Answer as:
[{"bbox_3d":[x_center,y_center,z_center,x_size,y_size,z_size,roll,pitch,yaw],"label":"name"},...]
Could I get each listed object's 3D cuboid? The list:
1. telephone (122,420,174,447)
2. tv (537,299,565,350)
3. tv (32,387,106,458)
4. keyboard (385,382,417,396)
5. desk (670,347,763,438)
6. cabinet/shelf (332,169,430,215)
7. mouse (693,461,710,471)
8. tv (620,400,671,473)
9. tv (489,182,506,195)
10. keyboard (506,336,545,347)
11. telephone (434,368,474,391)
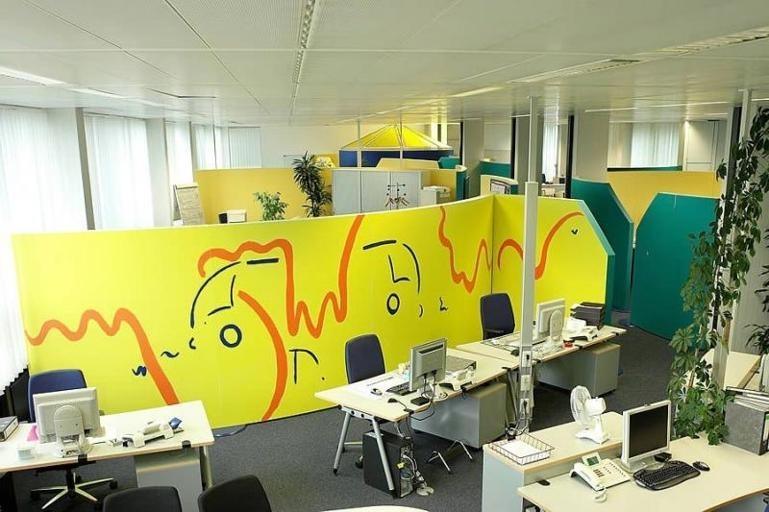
[{"bbox_3d":[-2.431,1.785,5.587,0.219,0.149,0.413,9,13,39],"label":"telephone"},{"bbox_3d":[2.258,0.905,7.386,0.549,0.649,0.191,-11,13,-37],"label":"tv"},{"bbox_3d":[-3.147,1.674,5.394,0.609,0.609,0.311,-2,22,-13],"label":"tv"},{"bbox_3d":[0.194,1.535,6.286,0.150,0.050,0.210,10,15,39],"label":"keyboard"},{"bbox_3d":[3.260,1.456,5.611,0.535,0.825,0.625,-7,11,-18],"label":"desk"},{"bbox_3d":[-0.194,-1.488,12.083,2.562,1.022,0.336,5,14,41],"label":"cabinet/shelf"},{"bbox_3d":[2.992,1.974,5.104,0.067,0.036,0.111,-4,3,-28],"label":"mouse"},{"bbox_3d":[2.479,1.724,5.113,0.560,0.555,0.296,-10,9,-32],"label":"tv"},{"bbox_3d":[2.445,-1.476,11.603,0.073,0.368,0.522,-9,14,-24],"label":"tv"},{"bbox_3d":[1.842,1.100,7.010,0.308,0.063,0.221,-1,3,-23],"label":"keyboard"},{"bbox_3d":[0.863,1.476,6.454,0.273,0.114,0.265,-6,6,-38],"label":"telephone"}]
